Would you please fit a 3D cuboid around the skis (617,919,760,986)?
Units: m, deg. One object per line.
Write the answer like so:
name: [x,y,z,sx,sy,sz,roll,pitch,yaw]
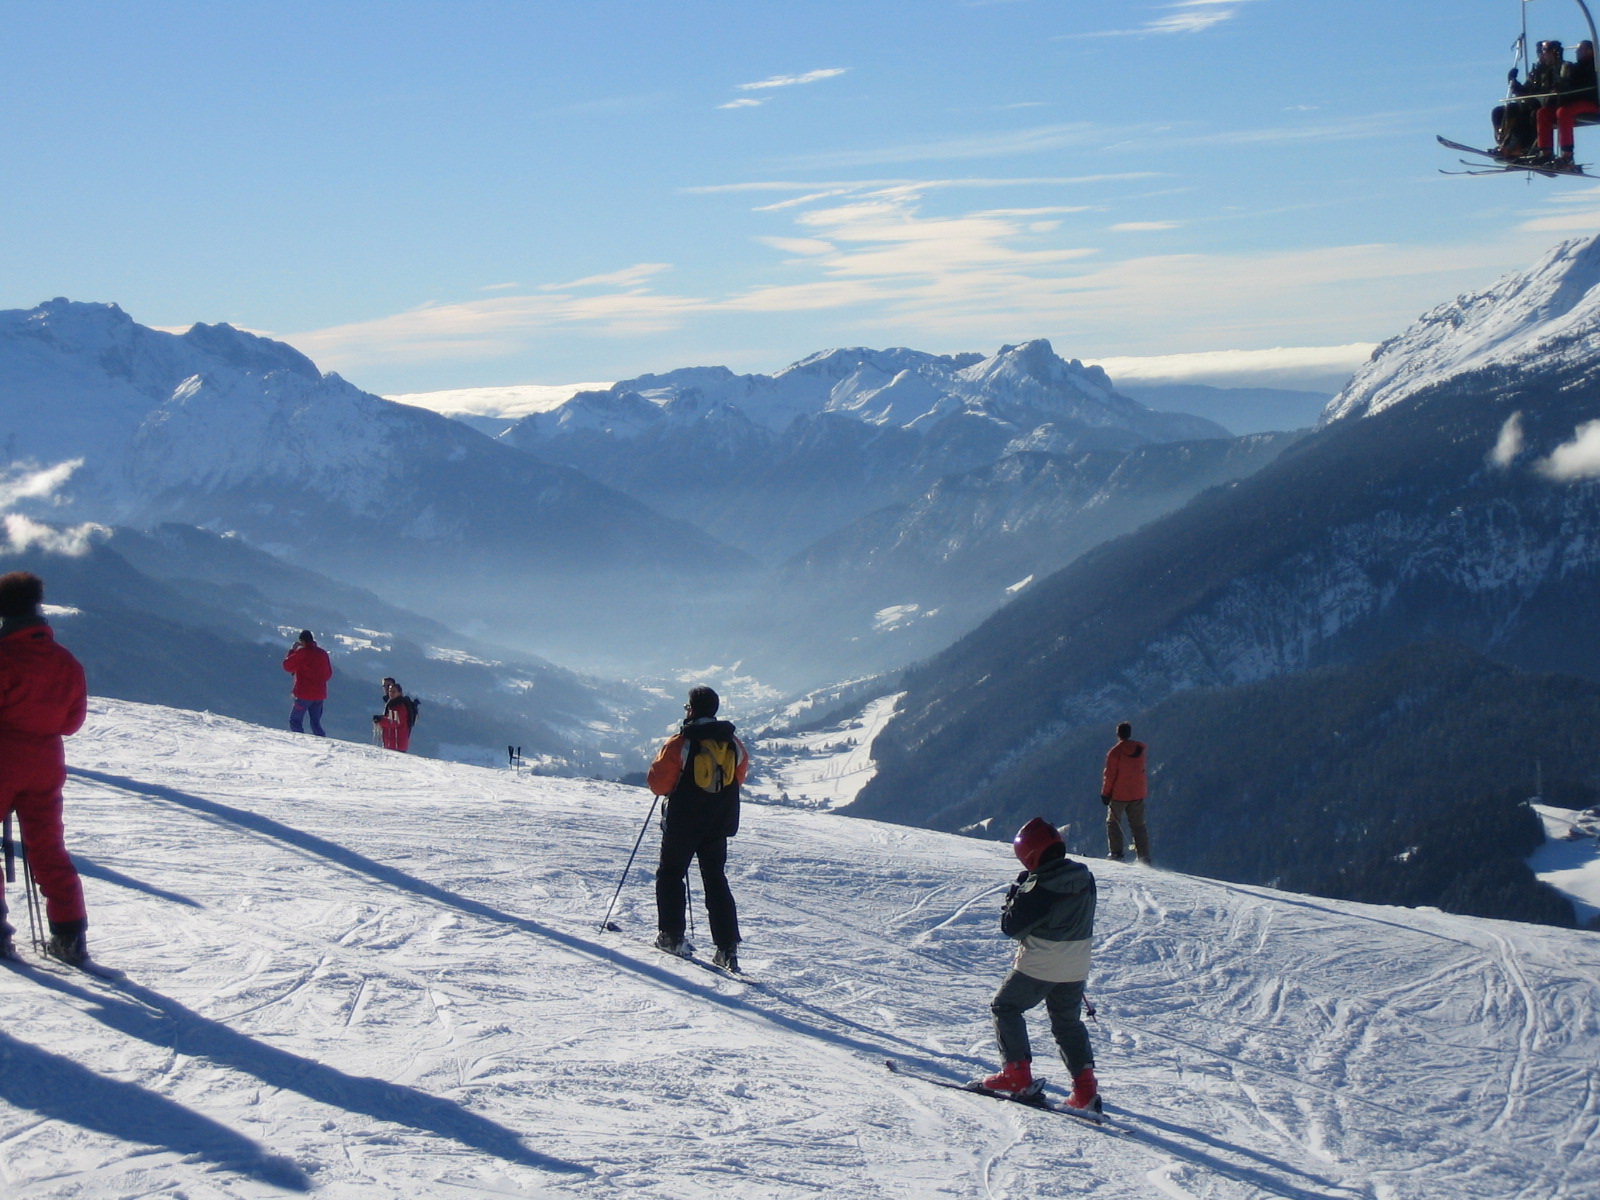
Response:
skis: [-1.667,5.089,26.107,1.900,0.261,0.206,20,42,-1]
